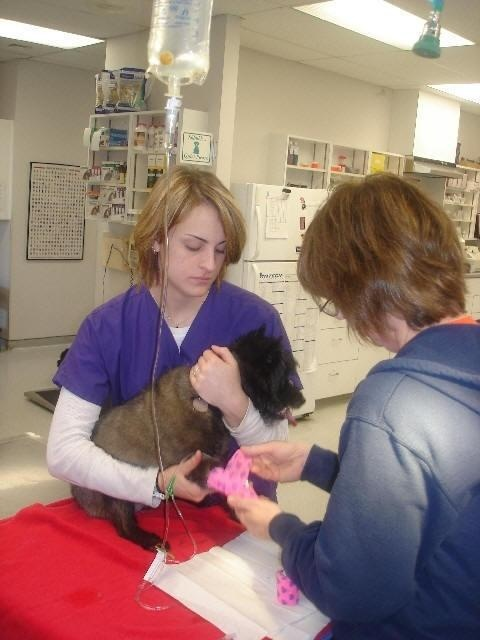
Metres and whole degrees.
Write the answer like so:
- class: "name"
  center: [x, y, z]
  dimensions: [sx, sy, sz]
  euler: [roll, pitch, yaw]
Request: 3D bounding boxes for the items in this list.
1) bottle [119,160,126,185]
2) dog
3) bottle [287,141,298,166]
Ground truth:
- class: "bottle"
  center: [-0.870, -1.096, 3.640]
  dimensions: [0.032, 0.136, 0.140]
  euler: [5, -2, -16]
- class: "dog"
  center: [-0.112, 0.253, 0.942]
  dimensions: [0.432, 0.300, 0.146]
  euler: [-16, 12, -8]
- class: "bottle"
  center: [0.453, -1.430, 4.227]
  dimensions: [0.107, 0.202, 0.070]
  euler: [5, 4, -8]
